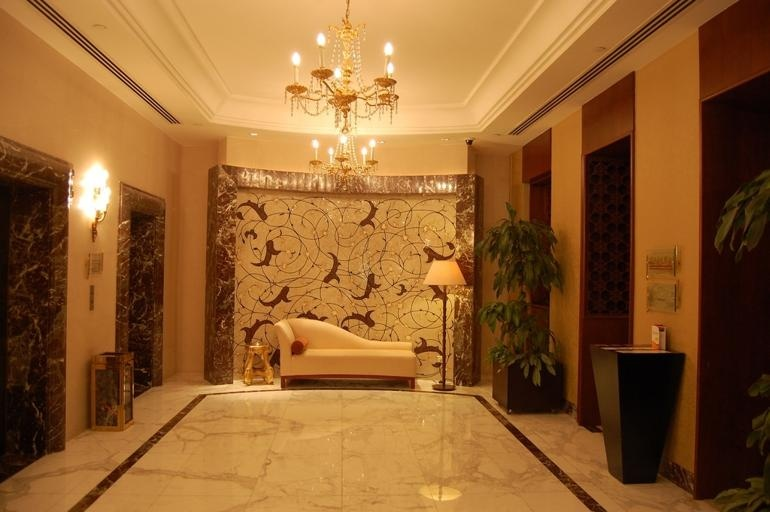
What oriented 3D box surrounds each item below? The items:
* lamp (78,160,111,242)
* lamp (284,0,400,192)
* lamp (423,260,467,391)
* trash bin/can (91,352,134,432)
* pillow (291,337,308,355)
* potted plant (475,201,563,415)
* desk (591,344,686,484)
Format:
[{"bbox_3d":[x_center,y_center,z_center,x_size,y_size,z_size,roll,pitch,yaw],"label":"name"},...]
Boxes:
[{"bbox_3d":[-3.648,-0.689,6.511,0.189,0.999,0.547,1,6,-3],"label":"lamp"},{"bbox_3d":[-0.578,-2.117,7.056,1.629,2.939,1.633,4,7,21],"label":"lamp"},{"bbox_3d":[0.951,1.094,8.368,0.625,2.069,1.031,2,6,7],"label":"lamp"},{"bbox_3d":[-3.384,1.675,6.401,0.466,0.928,0.264,-3,7,-30],"label":"trash bin/can"},{"bbox_3d":[-1.364,1.425,8.156,0.228,0.232,0.249,1,6,-2],"label":"pillow"},{"bbox_3d":[2.033,0.682,7.658,1.204,2.902,1.356,2,6,10],"label":"potted plant"},{"bbox_3d":[2.669,1.691,5.540,0.890,1.394,0.435,4,7,27],"label":"desk"}]
